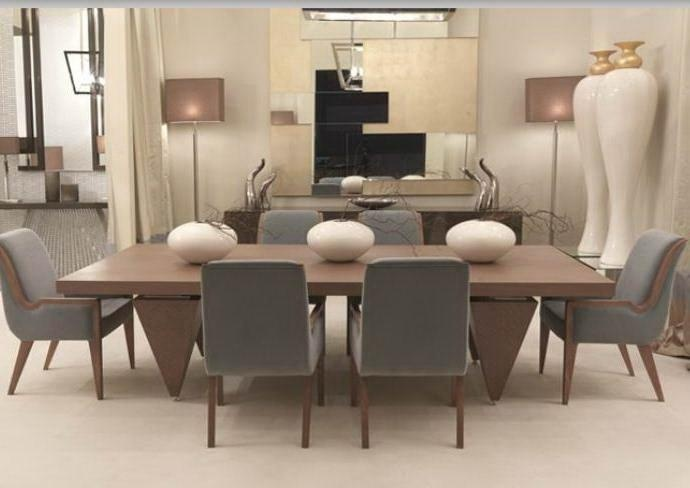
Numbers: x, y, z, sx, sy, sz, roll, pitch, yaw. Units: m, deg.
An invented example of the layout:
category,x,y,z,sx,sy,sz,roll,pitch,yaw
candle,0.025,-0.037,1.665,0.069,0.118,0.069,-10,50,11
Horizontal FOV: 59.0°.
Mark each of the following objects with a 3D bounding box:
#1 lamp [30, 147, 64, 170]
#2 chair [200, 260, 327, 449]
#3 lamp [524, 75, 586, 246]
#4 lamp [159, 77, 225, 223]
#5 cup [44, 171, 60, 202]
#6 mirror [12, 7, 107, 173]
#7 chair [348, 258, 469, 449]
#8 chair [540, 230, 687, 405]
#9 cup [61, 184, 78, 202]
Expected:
category,x,y,z,sx,sy,sz,roll,pitch,yaw
lamp,-3.183,-0.932,6.542,0.279,0.252,0.064,4,2,0
chair,-0.474,0.565,3.464,0.650,1.072,0.486,-2,16,2
lamp,2.081,-0.824,6.288,0.507,1.728,0.595,-1,16,4
lamp,-1.598,-0.980,6.413,0.567,1.495,0.768,-16,21,-41
cup,-3.123,-0.608,6.503,0.182,0.317,0.324,-9,16,-25
mirror,-3.076,-1.645,6.597,1.051,1.716,0.376,-2,16,-1
chair,0.383,0.648,3.559,0.746,1.024,0.805,2,-5,-16
chair,1.885,0.489,4.312,1.036,1.342,0.950,1,-1,6
cup,-2.952,-0.545,6.525,0.178,0.166,0.121,0,13,-6
